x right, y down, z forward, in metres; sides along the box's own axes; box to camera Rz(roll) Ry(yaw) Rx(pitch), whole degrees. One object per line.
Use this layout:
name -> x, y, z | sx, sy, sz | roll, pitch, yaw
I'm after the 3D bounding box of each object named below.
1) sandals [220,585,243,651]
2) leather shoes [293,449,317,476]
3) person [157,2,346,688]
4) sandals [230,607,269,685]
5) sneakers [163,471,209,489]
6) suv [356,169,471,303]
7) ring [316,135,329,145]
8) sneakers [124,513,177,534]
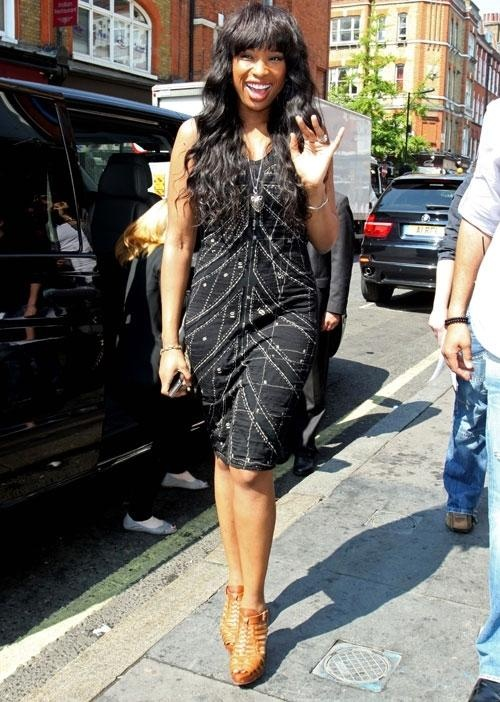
sandals -> -0.050, 0.751, 1.658 | 0.062, 0.166, 0.073 | 2, -5, 10
leather shoes -> 0.320, 0.664, 3.445 | 0.076, 0.081, 0.222 | 2, 8, 28
person -> 0.017, -0.031, 1.562 | 0.511, 1.750, 0.362 | -4, 8, -10
sandals -> 0.004, 0.775, 1.528 | 0.072, 0.074, 0.203 | 0, 5, 7
sneakers -> -0.369, 0.727, 3.309 | 0.295, 0.103, 0.101 | 0, 3, -2
suv -> 3.751, -1.765, 10.463 | 2.311, 2.071, 4.308 | 8, 8, 30
ring -> 0.185, -0.531, 1.473 | 0.036, 0.027, 0.013 | 3, -12, 8
sneakers -> -0.469, 0.835, 2.813 | 0.273, 0.097, 0.094 | 1, 8, 4
